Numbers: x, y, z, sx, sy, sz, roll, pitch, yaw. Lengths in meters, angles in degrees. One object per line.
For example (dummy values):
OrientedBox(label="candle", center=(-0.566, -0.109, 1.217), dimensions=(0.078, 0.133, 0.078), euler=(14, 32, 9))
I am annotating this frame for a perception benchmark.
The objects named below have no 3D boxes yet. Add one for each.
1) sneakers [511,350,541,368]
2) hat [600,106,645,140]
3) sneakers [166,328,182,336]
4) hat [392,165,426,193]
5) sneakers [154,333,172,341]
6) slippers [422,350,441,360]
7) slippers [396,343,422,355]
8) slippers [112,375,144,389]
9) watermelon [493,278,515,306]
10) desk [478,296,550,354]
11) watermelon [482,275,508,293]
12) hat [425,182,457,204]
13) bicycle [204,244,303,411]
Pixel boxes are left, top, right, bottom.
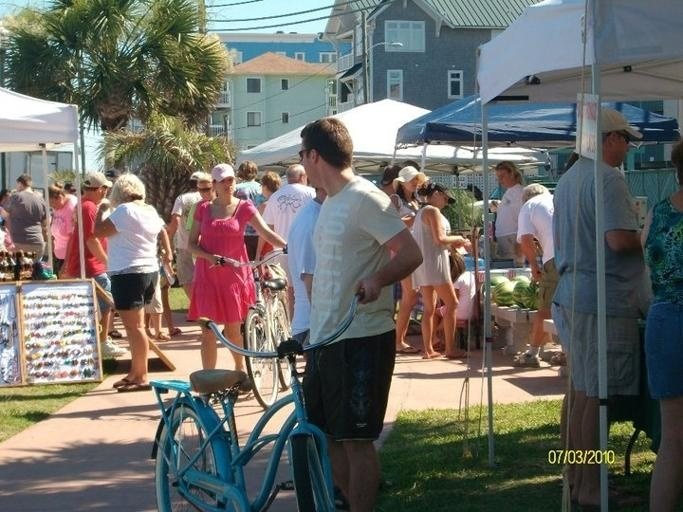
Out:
OrientedBox(label="sneakers", center=(2.255, 1.246, 10.398), dimensions=(0.263, 0.142, 0.177), euler=(2, 0, 1))
OrientedBox(label="hat", center=(2.049, -0.953, 6.298), dimensions=(0.367, 0.246, 0.256), euler=(-1, -5, 25))
OrientedBox(label="sneakers", center=(-2.462, 1.140, 12.828), dimensions=(0.152, 0.069, 0.090), euler=(4, 6, 31))
OrientedBox(label="hat", center=(0.884, -1.028, 11.029), dimensions=(0.289, 0.192, 0.301), euler=(-26, -14, 13))
OrientedBox(label="sneakers", center=(-2.580, 1.179, 12.393), dimensions=(0.119, 0.099, 0.223), euler=(1, -6, -28))
OrientedBox(label="slippers", center=(1.164, 1.252, 10.889), dimensions=(0.218, 0.189, 0.098), euler=(-5, -5, 4))
OrientedBox(label="slippers", center=(0.881, 1.223, 11.254), dimensions=(0.280, 0.116, 0.121), euler=(-1, -1, 6))
OrientedBox(label="slippers", center=(-2.341, 1.405, 9.513), dimensions=(0.262, 0.088, 0.156), euler=(2, -1, 0))
OrientedBox(label="watermelon", center=(2.126, 0.500, 11.242), dimensions=(0.277, 0.288, 0.247), euler=(-5, 0, 7))
OrientedBox(label="desk", center=(2.242, 0.988, 11.330), dimensions=(0.339, 0.520, 1.316), euler=(6, -1, -4))
OrientedBox(label="watermelon", center=(1.855, 0.354, 10.307), dimensions=(0.222, 0.205, 0.319), euler=(-3, 1, 0))
OrientedBox(label="hat", center=(1.248, -0.796, 10.765), dimensions=(0.308, 0.221, 0.235), euler=(9, -4, 3))
OrientedBox(label="bicycle", center=(-0.825, 0.808, 9.610), dimensions=(0.891, 1.513, 2.195), euler=(-8, -2, -6))
